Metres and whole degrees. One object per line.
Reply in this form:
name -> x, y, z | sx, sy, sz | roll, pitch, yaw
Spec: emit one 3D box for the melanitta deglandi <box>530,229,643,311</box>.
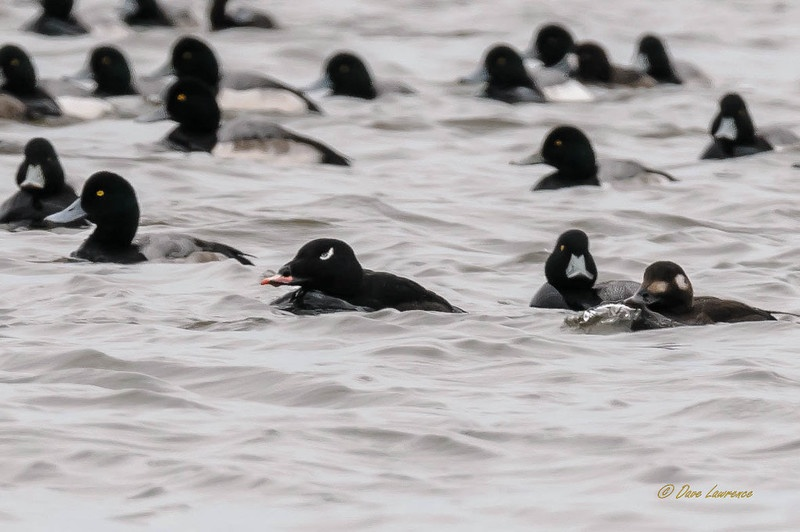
melanitta deglandi -> 1.368, 0.070, 8.105 | 0.669, 0.291, 0.916 | -3, -13, 11
